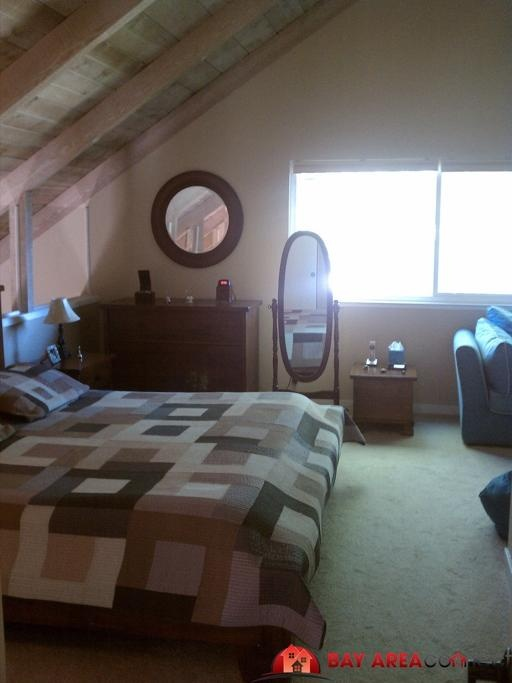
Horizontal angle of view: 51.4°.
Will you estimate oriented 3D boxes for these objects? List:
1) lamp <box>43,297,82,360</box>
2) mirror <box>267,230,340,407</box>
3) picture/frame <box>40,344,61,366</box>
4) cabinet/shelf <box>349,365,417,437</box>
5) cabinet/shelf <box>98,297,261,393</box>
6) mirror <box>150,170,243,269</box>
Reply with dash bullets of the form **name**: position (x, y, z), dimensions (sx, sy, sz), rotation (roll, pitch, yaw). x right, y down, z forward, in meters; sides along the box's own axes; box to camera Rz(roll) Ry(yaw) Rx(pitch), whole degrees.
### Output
- **lamp**: position (-1.219, -0.078, 3.316), dimensions (0.184, 0.349, 0.187), rotation (-7, 16, -37)
- **mirror**: position (0.310, -0.094, 3.238), dimensions (0.389, 1.277, 0.044), rotation (0, -22, 8)
- **picture/frame**: position (-1.280, 0.083, 3.317), dimensions (0.029, 0.141, 0.135), rotation (1, -4, 15)
- **cabinet/shelf**: position (0.924, 0.338, 3.883), dimensions (0.448, 0.483, 0.386), rotation (2, 32, 18)
- **cabinet/shelf**: position (-0.563, 0.036, 3.789), dimensions (0.549, 0.619, 0.235), rotation (0, 7, 5)
- **mirror**: position (-0.466, -0.962, 4.221), dimensions (0.663, 0.817, 0.729), rotation (0, -2, -9)
